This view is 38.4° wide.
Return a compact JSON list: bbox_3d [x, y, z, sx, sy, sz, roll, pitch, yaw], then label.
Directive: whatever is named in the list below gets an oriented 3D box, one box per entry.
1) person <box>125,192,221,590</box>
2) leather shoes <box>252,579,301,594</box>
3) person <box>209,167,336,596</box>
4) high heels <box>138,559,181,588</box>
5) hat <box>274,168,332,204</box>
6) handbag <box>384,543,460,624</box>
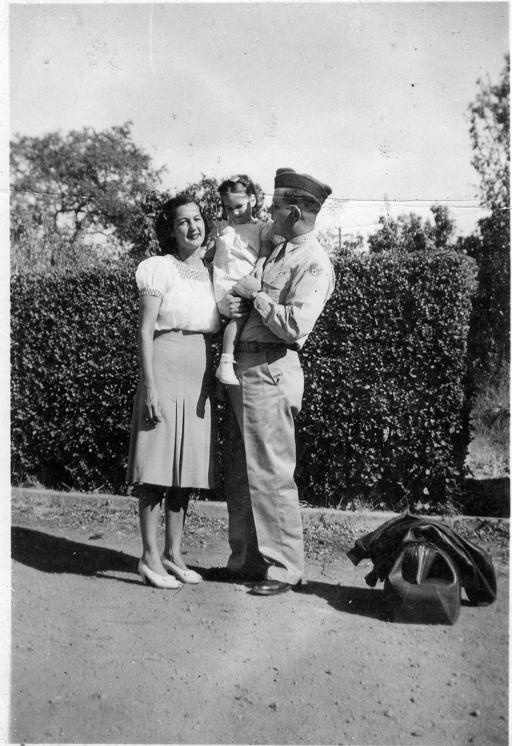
[{"bbox_3d":[-0.372,0.085,3.256,0.400,1.733,0.331,2,3,-21],"label":"person"},{"bbox_3d":[0.089,0.929,3.266,0.187,0.081,0.080,6,-11,-23],"label":"leather shoes"},{"bbox_3d":[0.061,0.023,3.282,0.498,1.900,0.394,4,3,10],"label":"person"},{"bbox_3d":[-0.437,0.910,3.291,0.168,0.108,0.104,21,5,3],"label":"high heels"},{"bbox_3d":[0.203,-0.838,3.271,0.255,0.154,0.229,7,4,1],"label":"hat"},{"bbox_3d":[0.684,0.864,3.010,0.267,0.383,0.286,0,-3,28],"label":"handbag"}]
